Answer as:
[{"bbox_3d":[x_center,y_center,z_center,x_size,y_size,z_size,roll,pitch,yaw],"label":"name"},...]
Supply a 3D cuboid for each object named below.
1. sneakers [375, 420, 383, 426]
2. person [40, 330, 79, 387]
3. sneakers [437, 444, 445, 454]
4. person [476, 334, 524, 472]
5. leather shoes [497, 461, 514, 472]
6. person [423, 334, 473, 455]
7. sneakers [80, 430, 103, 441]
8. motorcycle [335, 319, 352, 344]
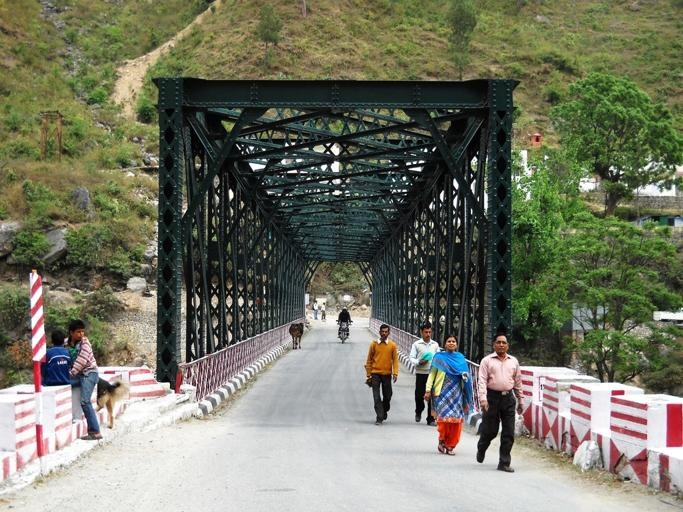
[{"bbox_3d":[1.075,4.599,26.208,0.302,0.112,0.182,4,-7,-30],"label":"sneakers"},{"bbox_3d":[-6.910,2.454,22.955,0.767,1.360,0.526,2,-6,-16],"label":"person"},{"bbox_3d":[2.504,4.786,23.498,0.144,0.219,0.315,3,-6,-18],"label":"sneakers"},{"bbox_3d":[3.801,3.472,22.499,1.058,3.207,1.062,1,-6,2],"label":"person"},{"bbox_3d":[3.857,4.947,22.099,0.417,0.194,0.159,1,3,-4],"label":"leather shoes"},{"bbox_3d":[2.708,3.474,23.742,1.136,2.900,1.071,0,-6,6],"label":"person"},{"bbox_3d":[-6.078,4.353,22.944,0.508,0.254,0.181,5,-4,-1],"label":"sneakers"},{"bbox_3d":[0.134,4.245,53.657,0.727,0.962,1.495,0,-6,2],"label":"motorcycle"}]
